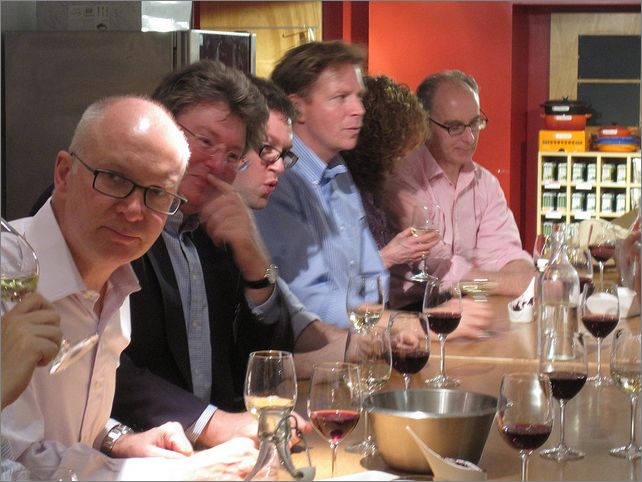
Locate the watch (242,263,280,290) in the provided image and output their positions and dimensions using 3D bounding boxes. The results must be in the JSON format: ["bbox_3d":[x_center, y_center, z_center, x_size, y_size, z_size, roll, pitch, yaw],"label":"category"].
[{"bbox_3d":[-0.197,0.134,2.064,0.078,0.050,0.085,-22,8,15],"label":"watch"}]

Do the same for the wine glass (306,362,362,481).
[{"bbox_3d":[0.028,0.359,1.222,0.102,0.217,0.057,0,4,2],"label":"wine glass"}]

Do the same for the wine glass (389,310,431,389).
[{"bbox_3d":[0.229,0.299,1.613,0.104,0.214,0.151,0,5,8],"label":"wine glass"}]

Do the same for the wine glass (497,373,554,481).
[{"bbox_3d":[0.384,0.365,1.164,0.103,0.222,0.082,-3,5,-29],"label":"wine glass"}]

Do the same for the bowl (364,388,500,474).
[{"bbox_3d":[0.223,0.399,1.269,0.265,0.147,0.153,1,5,17],"label":"bowl"}]

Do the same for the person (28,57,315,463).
[{"bbox_3d":[-0.490,0.045,2.451,1.038,1.911,0.781,-2,-3,33],"label":"person"}]

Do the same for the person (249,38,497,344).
[{"bbox_3d":[0.232,-0.381,3.088,1.133,1.510,0.963,-1,6,21],"label":"person"}]

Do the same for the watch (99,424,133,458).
[{"bbox_3d":[-0.513,0.503,1.530,0.048,0.075,0.078,30,47,1],"label":"watch"}]
